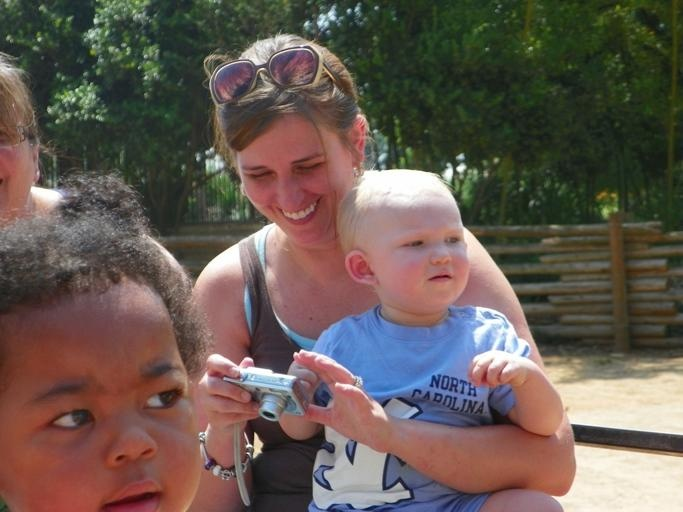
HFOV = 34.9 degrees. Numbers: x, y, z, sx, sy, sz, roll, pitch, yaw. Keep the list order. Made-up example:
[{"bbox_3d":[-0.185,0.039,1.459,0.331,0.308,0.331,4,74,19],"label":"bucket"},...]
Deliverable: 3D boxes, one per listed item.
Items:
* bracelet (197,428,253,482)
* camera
[{"bbox_3d":[-0.778,1.301,7.319,0.336,0.382,0.271,-1,5,-22],"label":"bracelet"},{"bbox_3d":[-0.445,0.835,6.835,0.429,0.321,0.460,4,2,35],"label":"camera"}]
